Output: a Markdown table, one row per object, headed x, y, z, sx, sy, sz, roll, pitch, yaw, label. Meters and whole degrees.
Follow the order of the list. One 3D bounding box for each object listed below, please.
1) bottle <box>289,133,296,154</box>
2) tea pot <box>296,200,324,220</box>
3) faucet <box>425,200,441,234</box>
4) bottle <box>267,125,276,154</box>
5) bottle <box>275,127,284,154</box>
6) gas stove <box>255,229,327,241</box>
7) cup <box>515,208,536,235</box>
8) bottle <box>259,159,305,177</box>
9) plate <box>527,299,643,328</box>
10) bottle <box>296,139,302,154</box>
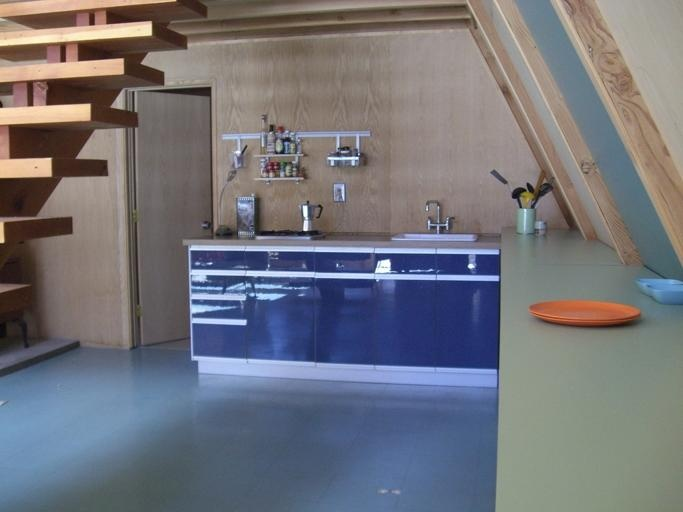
| x | y | z | sx | sy | sz | roll | pitch | yaw | label |
| --- | --- | --- | --- | --- | --- | --- | --- | --- | --- |
| -0.435 | -0.998 | 5.020 | 0.074 | 0.182 | 0.034 | -2 | 10 | 8 | bottle |
| -0.272 | -0.386 | 4.918 | 0.195 | 0.173 | 0.134 | 2 | 4 | 12 | tea pot |
| 0.788 | -0.328 | 4.803 | 0.130 | 0.272 | 0.197 | -3 | 10 | 7 | faucet |
| -0.633 | -1.038 | 5.060 | 0.085 | 0.247 | 0.056 | -6 | 10 | -10 | bottle |
| -0.558 | -1.025 | 5.039 | 0.084 | 0.229 | 0.044 | -6 | 10 | -10 | bottle |
| -0.429 | -0.156 | 4.626 | 0.541 | 0.050 | 0.566 | -5 | 10 | -7 | gas stove |
| 1.379 | -0.255 | 4.208 | 0.171 | 0.199 | 0.175 | -1 | 4 | 0 | cup |
| -0.537 | -0.788 | 5.082 | 0.368 | 0.196 | 0.175 | 2 | 11 | 29 | bottle |
| 0.732 | 0.178 | 1.703 | 0.304 | 0.051 | 0.225 | 2 | 12 | 29 | plate |
| -0.379 | -0.965 | 5.035 | 0.029 | 0.136 | 0.069 | 3 | 12 | 34 | bottle |
